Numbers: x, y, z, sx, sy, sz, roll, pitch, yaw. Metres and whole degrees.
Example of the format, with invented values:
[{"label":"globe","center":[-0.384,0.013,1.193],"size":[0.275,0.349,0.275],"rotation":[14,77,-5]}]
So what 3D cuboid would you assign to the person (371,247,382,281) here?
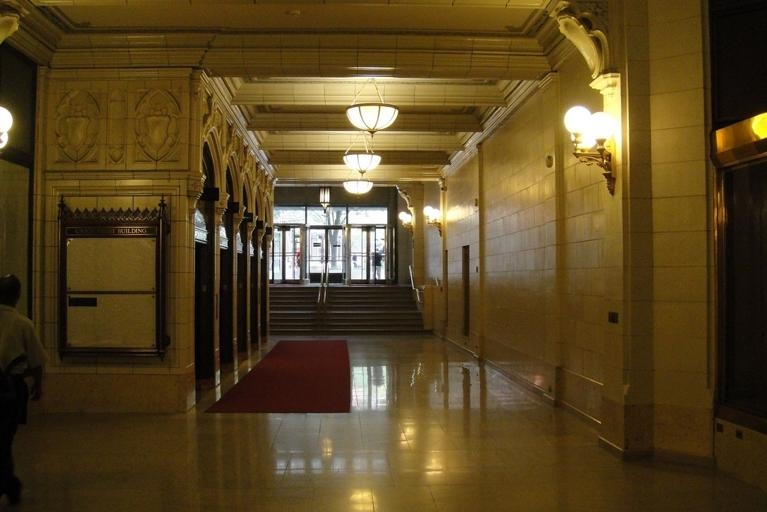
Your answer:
[{"label":"person","center":[-0.274,0.376,25.222],"size":[0.426,1.229,0.153],"rotation":[-1,-4,-1]}]

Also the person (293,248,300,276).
[{"label":"person","center":[-3.373,0.186,24.888],"size":[0.177,1.046,0.560],"rotation":[2,-5,-29]}]

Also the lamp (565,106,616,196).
[{"label":"lamp","center":[2.667,-1.358,8.242],"size":[0.683,1.114,0.304],"rotation":[2,-5,-29]}]

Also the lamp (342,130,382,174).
[{"label":"lamp","center":[-0.447,-2.241,13.295],"size":[0.793,1.077,0.801],"rotation":[6,-10,-22]}]

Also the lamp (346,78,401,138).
[{"label":"lamp","center":[-0.217,-2.713,11.120],"size":[0.891,1.149,0.891],"rotation":[-2,-2,21]}]
